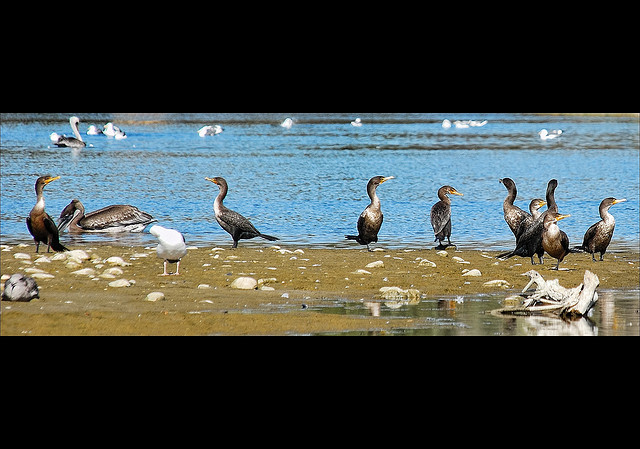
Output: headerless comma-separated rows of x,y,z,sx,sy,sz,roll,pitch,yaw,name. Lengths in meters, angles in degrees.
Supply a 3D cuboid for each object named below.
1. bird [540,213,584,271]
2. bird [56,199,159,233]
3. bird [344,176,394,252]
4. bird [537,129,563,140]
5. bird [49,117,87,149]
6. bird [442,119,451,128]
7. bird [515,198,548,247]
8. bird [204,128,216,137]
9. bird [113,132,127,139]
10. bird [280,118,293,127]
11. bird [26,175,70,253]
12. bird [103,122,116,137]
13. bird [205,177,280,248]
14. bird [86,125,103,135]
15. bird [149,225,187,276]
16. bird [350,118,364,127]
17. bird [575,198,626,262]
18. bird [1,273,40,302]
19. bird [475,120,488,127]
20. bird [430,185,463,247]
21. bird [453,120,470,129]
2.796,0.193,11.635,0.339,0.653,0.226,-1,8,8,bird
-2.568,-0.094,11.901,1.438,0.425,0.414,-5,-5,-1,bird
0.619,-0.137,11.933,0.549,0.893,0.274,-8,10,-38,bird
2.799,-1.087,11.865,0.347,0.083,0.131,-1,-5,5,bird
-3.027,-1.129,11.790,0.210,0.332,0.462,8,1,28,bird
1.541,-1.233,11.928,0.130,0.097,0.035,-1,13,5,bird
2.561,-0.041,11.780,0.350,0.548,0.199,-6,9,-32,bird
-1.323,-1.114,11.902,0.111,0.106,0.030,-2,8,-2,bird
-2.411,-1.069,11.792,0.139,0.096,0.069,7,27,-1,bird
-0.406,-1.231,11.888,0.141,0.075,0.093,3,10,-12,bird
-3.299,-0.126,11.747,0.435,0.910,0.179,-4,9,-13,bird
-2.527,-1.130,11.749,0.122,0.164,0.061,-3,8,-10,bird
-1.009,-0.152,11.906,0.757,0.842,0.260,2,9,24,bird
-2.709,-1.134,11.757,0.176,0.112,0.061,-2,8,-11,bird
-1.752,0.301,11.342,0.387,0.606,0.390,-3,8,-8,bird
0.462,-1.233,11.883,0.153,0.105,0.052,-2,8,-7,bird
3.379,0.057,11.749,0.568,0.727,0.184,-6,9,-31,bird
-3.434,0.725,11.163,0.416,0.234,0.306,-1,3,39,bird
1.958,-1.218,11.849,0.061,0.081,0.183,-8,9,-42,bird
1.533,-0.108,11.936,0.256,0.724,0.283,5,11,41,bird
1.736,-1.213,11.934,0.182,0.098,0.030,-1,8,4,bird
